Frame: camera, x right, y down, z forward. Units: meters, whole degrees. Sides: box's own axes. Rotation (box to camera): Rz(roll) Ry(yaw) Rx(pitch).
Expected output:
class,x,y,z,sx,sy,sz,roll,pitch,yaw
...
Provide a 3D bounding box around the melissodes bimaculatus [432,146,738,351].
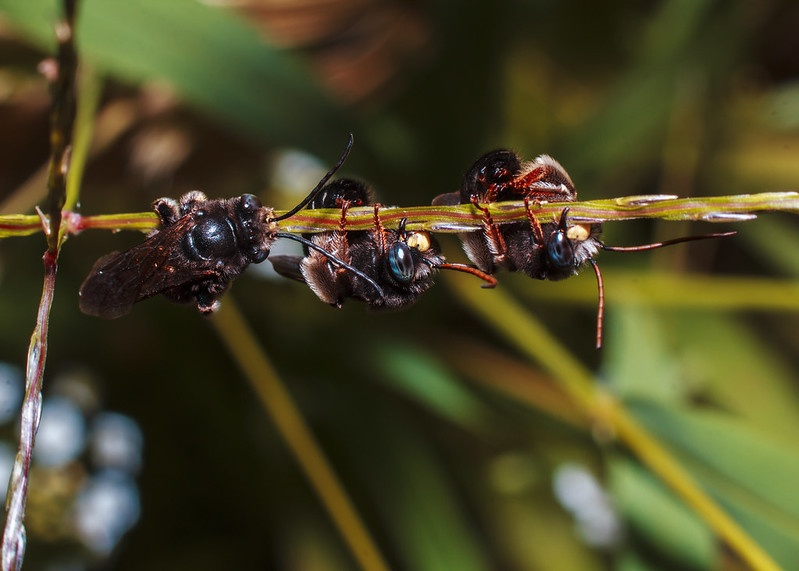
class,x,y,z,sx,sy,sz,roll,pitch,yaw
melissodes bimaculatus,0.203,-0.084,0.959,0.257,0.098,0.151,1,-81,0
